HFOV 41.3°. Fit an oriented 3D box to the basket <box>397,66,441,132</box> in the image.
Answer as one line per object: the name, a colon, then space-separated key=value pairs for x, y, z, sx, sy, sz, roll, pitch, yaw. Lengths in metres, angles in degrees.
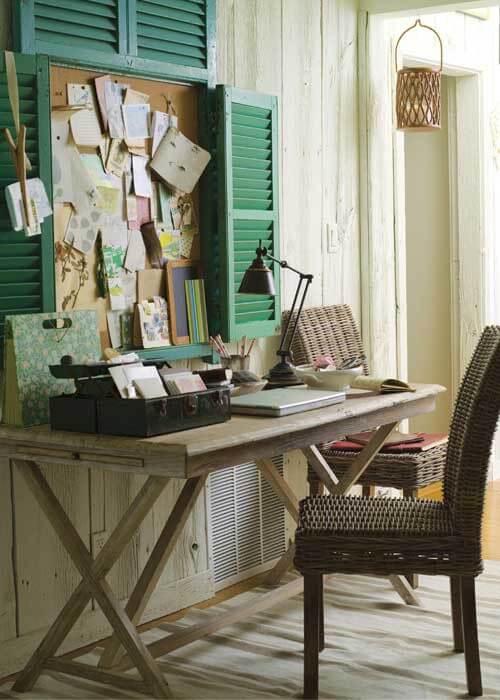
basket: x=0.749 y=-1.151 z=3.123 sx=0.252 sy=0.280 sz=0.263 roll=-1 pitch=1 yaw=-2

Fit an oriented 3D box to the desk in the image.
desk: x=-0.074 y=0.516 z=1.808 sx=0.433 sy=0.417 sz=0.872 roll=0 pitch=3 yaw=32

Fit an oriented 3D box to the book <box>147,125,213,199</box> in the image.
book: x=-0.237 y=-0.626 z=2.196 sx=0.074 sy=0.197 sz=0.245 roll=-4 pitch=-4 yaw=35

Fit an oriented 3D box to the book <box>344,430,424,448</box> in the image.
book: x=0.478 y=0.325 z=2.408 sx=0.131 sy=0.018 sz=0.133 roll=-5 pitch=4 yaw=-37
